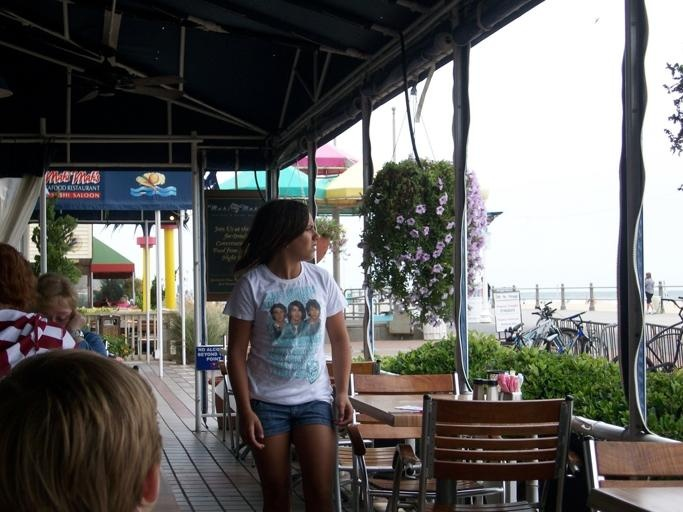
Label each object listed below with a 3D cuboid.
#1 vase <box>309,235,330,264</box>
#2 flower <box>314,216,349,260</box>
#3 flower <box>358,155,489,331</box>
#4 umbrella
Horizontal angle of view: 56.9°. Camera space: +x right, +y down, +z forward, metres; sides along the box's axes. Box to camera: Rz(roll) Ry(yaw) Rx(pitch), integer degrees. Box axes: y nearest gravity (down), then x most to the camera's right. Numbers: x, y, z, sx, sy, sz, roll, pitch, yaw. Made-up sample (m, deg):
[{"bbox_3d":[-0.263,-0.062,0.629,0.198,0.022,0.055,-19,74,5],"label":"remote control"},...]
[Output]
[{"bbox_3d":[-0.183,-0.034,5.811,0.223,0.301,0.246,2,-7,0],"label":"vase"},{"bbox_3d":[-0.121,-0.251,10.403,0.524,0.749,0.662,-1,-4,33],"label":"flower"},{"bbox_3d":[0.604,-0.107,4.397,0.774,1.027,0.831,-3,-47,15],"label":"flower"},{"bbox_3d":[-0.350,-1.014,8.704,1.256,0.659,1.372,-1,-3,-8],"label":"umbrella"}]
